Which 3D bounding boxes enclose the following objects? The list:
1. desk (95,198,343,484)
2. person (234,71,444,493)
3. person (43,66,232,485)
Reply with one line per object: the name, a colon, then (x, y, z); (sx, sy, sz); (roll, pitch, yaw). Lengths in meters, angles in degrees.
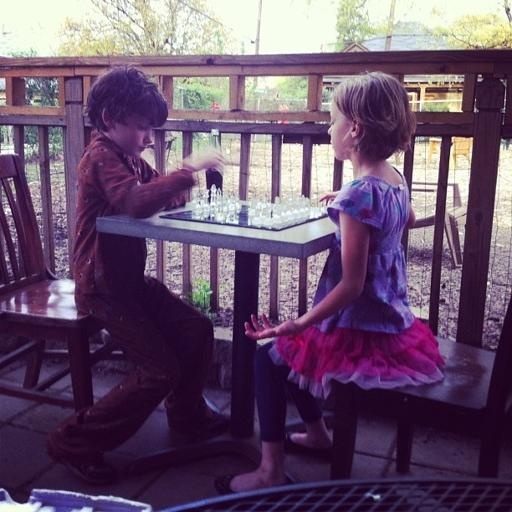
desk: (-0.061, 0.212, 2.182); (0.833, 0.991, 0.909); (10, 23, 22)
person: (0.280, 0.113, 1.732); (0.573, 1.509, 0.583); (3, 9, 13)
person: (-0.488, 0.176, 2.024); (0.596, 1.737, 0.641); (5, 11, 26)
